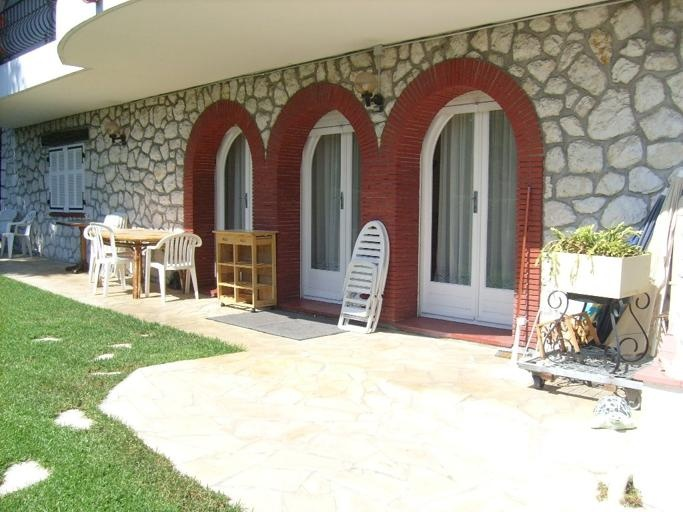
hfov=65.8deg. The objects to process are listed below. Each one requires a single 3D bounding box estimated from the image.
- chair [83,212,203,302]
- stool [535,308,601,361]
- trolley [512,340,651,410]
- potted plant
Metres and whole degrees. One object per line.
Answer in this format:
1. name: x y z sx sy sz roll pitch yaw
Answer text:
1. chair: -3.262 0.015 9.200 1.512 1.524 1.872 -4 8 -40
2. stool: 2.052 0.723 4.939 0.530 0.497 0.458 -2 4 -44
3. trolley: 2.062 0.968 4.526 0.942 0.478 0.752 6 9 41
4. potted plant: 2.252 0.030 4.699 0.659 0.792 0.815 -5 7 -42
